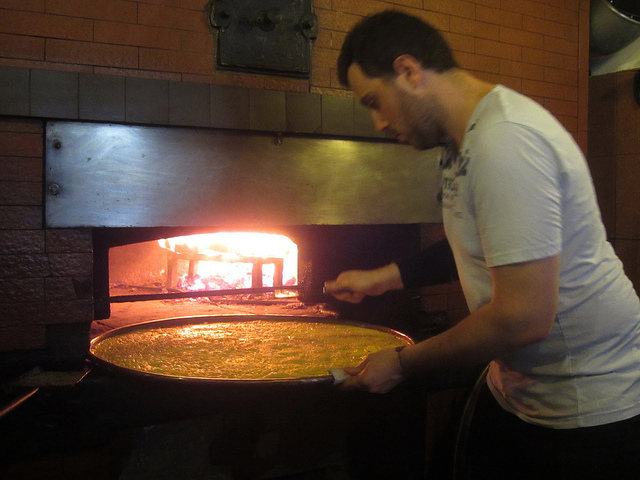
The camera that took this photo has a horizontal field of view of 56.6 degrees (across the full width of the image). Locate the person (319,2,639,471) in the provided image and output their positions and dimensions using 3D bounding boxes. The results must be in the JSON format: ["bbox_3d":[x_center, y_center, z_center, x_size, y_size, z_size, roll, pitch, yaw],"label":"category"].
[{"bbox_3d":[0.582,0.060,2.016,0.980,1.672,0.428,2,7,11],"label":"person"}]
